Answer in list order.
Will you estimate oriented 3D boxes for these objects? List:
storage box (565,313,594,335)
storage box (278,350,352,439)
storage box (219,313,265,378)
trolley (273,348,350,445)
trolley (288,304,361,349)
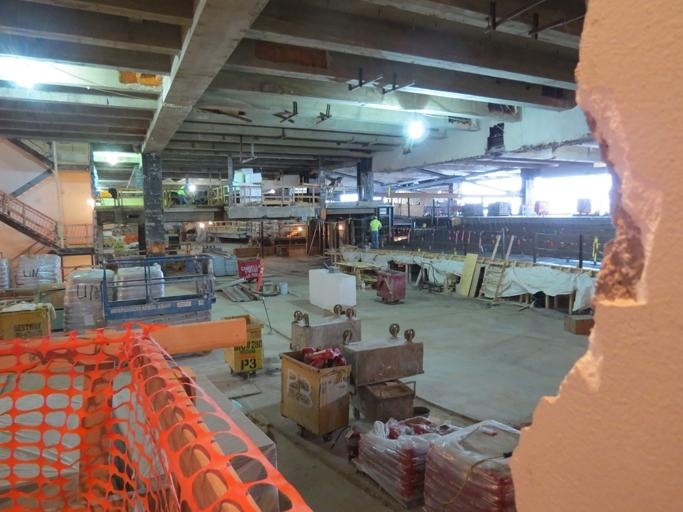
[{"bbox_3d":[6.195,1.816,12.375,0.637,0.578,0.565,2,8,20],"label":"storage box"},{"bbox_3d":[-0.404,2.076,7.311,0.704,0.875,1.156,2,-4,-33],"label":"storage box"},{"bbox_3d":[-1.916,1.838,9.360,0.729,1.071,0.479,-2,8,-7],"label":"storage box"},{"bbox_3d":[-0.416,2.114,7.051,0.885,1.370,1.463,1,0,-36],"label":"trolley"},{"bbox_3d":[-0.496,1.410,9.242,0.742,0.803,1.385,-4,-4,-10],"label":"trolley"}]
